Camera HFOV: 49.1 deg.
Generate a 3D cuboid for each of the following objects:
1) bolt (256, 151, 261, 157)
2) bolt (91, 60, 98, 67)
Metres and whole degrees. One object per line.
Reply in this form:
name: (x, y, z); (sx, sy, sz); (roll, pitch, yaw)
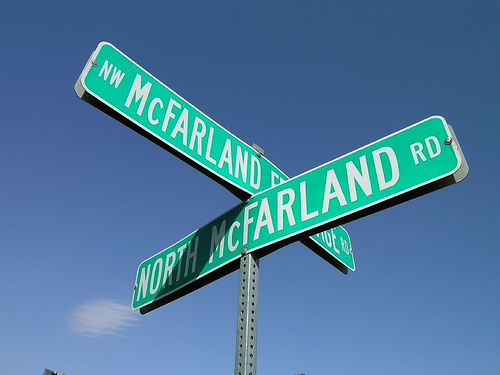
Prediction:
bolt: (0.103, -0.374, 6.130); (0.012, 0.049, 0.046); (-13, -14, 43)
bolt: (-1.476, -1.177, 5.176); (0.049, 0.057, 0.016); (-13, -11, -26)
